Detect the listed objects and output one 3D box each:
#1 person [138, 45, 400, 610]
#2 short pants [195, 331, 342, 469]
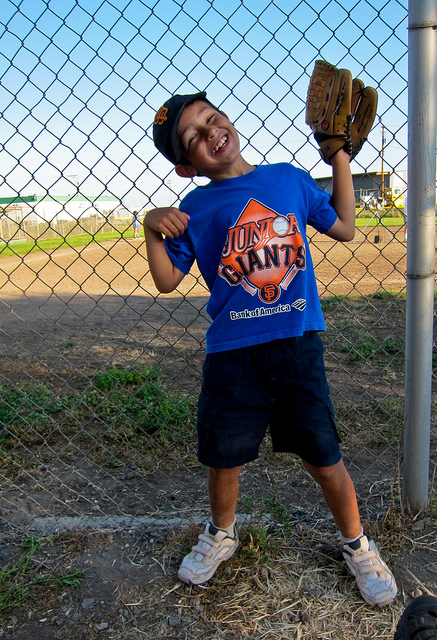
[{"bbox_3d":[0.194,0.046,1.775,0.772,1.706,0.480,0,15,9],"label":"person"},{"bbox_3d":[0.164,0.256,1.756,0.510,0.430,0.181,0,-7,-8],"label":"short pants"}]
